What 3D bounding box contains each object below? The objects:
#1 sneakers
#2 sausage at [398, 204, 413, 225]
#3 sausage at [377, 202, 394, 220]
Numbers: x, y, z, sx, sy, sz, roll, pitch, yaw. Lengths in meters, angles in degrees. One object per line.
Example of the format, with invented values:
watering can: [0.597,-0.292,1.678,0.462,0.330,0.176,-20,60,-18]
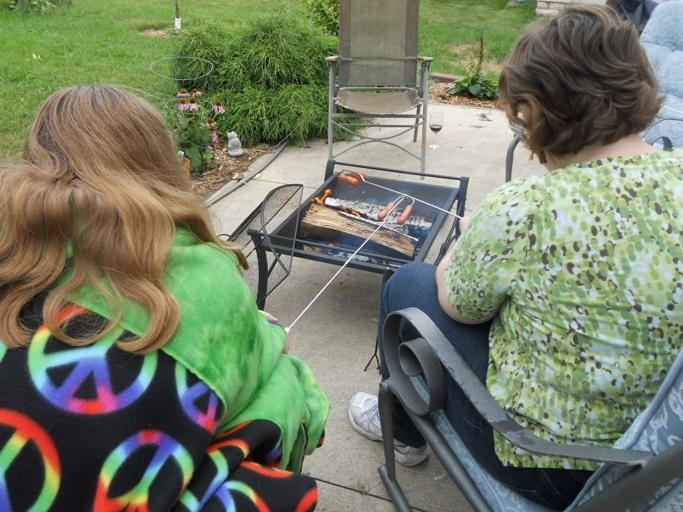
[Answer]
sneakers: [0.190,0.643,2.307,0.162,0.175,0.374,-32,57,-25]
sausage: [0.324,-0.210,2.996,0.039,0.040,0.168,-9,22,28]
sausage: [0.229,-0.225,3.082,0.039,0.049,0.177,-7,22,31]
